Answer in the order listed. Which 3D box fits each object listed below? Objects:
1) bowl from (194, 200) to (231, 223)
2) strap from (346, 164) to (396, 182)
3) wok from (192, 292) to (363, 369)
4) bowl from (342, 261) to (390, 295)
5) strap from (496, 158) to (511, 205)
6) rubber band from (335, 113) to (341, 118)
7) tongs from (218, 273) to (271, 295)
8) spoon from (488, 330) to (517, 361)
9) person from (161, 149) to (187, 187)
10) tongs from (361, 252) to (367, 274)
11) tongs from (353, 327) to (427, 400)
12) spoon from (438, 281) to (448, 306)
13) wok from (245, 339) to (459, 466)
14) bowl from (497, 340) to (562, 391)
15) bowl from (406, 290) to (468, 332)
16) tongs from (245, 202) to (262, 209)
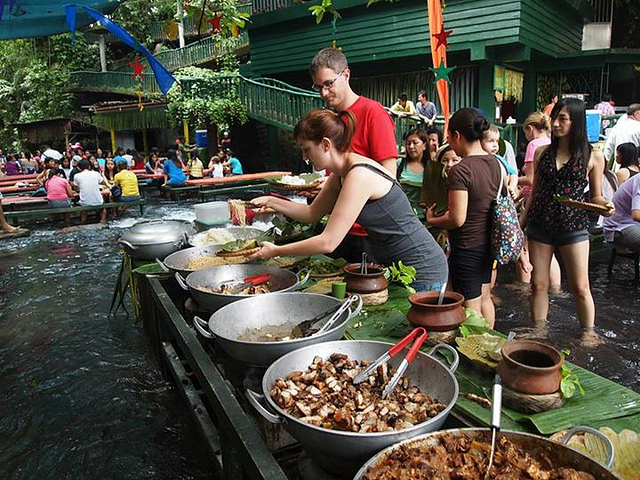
[{"bbox_3d":[-1.154,-0.308,4.958,0.399,0.184,0.283,-9,15,-38],"label":"bowl"},{"bbox_3d":[0.281,-0.387,2.599,0.170,0.050,0.175,30,-6,-9],"label":"strap"},{"bbox_3d":[-0.196,0.442,2.221,0.572,0.285,0.651,-5,16,-25],"label":"wok"},{"bbox_3d":[0.269,0.228,2.796,0.211,0.159,0.218,-2,5,0],"label":"bowl"},{"bbox_3d":[1.339,-0.453,3.315,0.097,0.276,0.180,3,16,23],"label":"strap"},{"bbox_3d":[0.103,-0.720,2.613,0.032,0.007,0.022,9,23,-50],"label":"rubber band"},{"bbox_3d":[-0.457,0.235,2.772,0.260,0.046,0.139,-16,22,-36],"label":"tongs"},{"bbox_3d":[0.806,0.473,2.017,0.085,0.030,0.178,23,64,40],"label":"spoon"},{"bbox_3d":[-4.386,-1.940,13.152,0.768,1.070,0.779,-8,-13,-23],"label":"person"},{"bbox_3d":[0.267,0.137,2.774,0.035,0.139,0.091,-1,15,8],"label":"tongs"},{"bbox_3d":[0.273,0.458,1.924,0.266,0.280,0.243,-4,12,-30],"label":"tongs"},{"bbox_3d":[0.652,0.287,2.421,0.016,0.015,0.131,27,49,-6],"label":"spoon"},{"bbox_3d":[0.124,0.590,1.756,0.647,0.221,0.504,-9,18,-33],"label":"wok"},{"bbox_3d":[0.850,0.506,1.824,0.186,0.140,0.192,-1,9,0],"label":"bowl"},{"bbox_3d":[0.580,0.340,2.239,0.205,0.156,0.209,2,3,0],"label":"bowl"},{"bbox_3d":[-0.545,-0.283,3.709,0.090,0.030,0.097,-2,12,-5],"label":"tongs"}]
